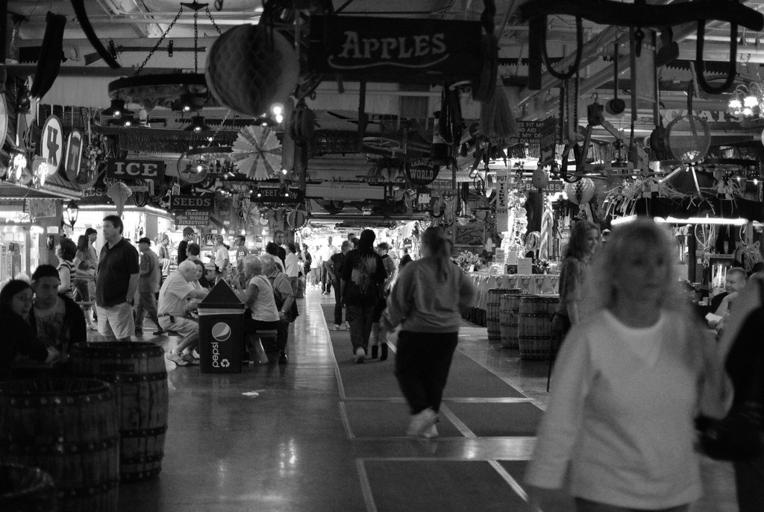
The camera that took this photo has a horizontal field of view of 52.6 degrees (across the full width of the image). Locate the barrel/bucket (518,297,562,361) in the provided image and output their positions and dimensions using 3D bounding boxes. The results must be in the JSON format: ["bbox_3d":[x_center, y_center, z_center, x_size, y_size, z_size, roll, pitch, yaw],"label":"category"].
[{"bbox_3d":[2.447,1.143,12.344,0.895,0.959,0.898,0,0,0],"label":"barrel/bucket"}]

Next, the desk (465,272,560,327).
[{"bbox_3d":[3.050,1.215,17.761,1.554,0.954,1.812,-2,1,-1],"label":"desk"}]

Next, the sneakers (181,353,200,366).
[{"bbox_3d":[-2.896,1.570,11.737,0.142,0.194,0.438,1,-4,2],"label":"sneakers"}]

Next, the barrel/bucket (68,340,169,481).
[{"bbox_3d":[-2.197,1.223,6.439,0.934,1.334,0.928,0,1,0],"label":"barrel/bucket"}]

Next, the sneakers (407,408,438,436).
[{"bbox_3d":[0.389,1.639,7.653,0.200,0.242,0.340,1,3,-26],"label":"sneakers"}]

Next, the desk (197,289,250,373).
[{"bbox_3d":[-2.342,1.061,11.239,0.797,1.295,0.875,-2,-9,6],"label":"desk"}]

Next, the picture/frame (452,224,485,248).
[{"bbox_3d":[3.350,-0.796,29.343,1.385,1.095,0.799,0,-4,-8],"label":"picture/frame"}]
